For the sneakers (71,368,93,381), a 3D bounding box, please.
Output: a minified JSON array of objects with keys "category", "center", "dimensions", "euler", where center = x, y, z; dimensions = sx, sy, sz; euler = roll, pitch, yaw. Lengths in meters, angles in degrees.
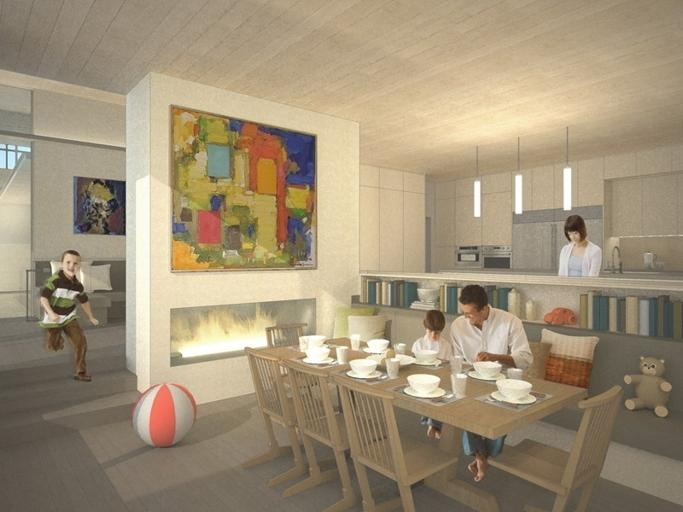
[{"category":"sneakers","center":[-3.013,1.375,5.157],"dimensions":[0.244,0.157,0.130],"euler":[-1,-3,15]}]
